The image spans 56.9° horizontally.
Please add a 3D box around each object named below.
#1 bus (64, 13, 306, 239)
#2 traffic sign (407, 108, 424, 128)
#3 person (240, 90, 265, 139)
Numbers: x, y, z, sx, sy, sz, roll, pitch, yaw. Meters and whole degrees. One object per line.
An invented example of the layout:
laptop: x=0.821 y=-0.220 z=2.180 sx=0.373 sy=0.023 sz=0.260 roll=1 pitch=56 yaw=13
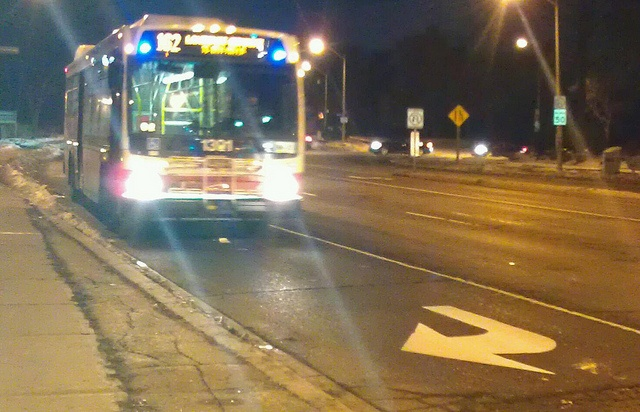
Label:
bus: x=-3.482 y=-1.764 z=13.073 sx=6.043 sy=4.565 sz=2.846 roll=8 pitch=10 yaw=31
traffic sign: x=5.024 y=-4.613 z=31.293 sx=1.035 sy=1.067 sz=1.056 roll=5 pitch=8 yaw=24
person: x=-1.476 y=-1.962 z=12.701 sx=0.473 sy=0.334 sz=1.537 roll=1 pitch=46 yaw=-8
